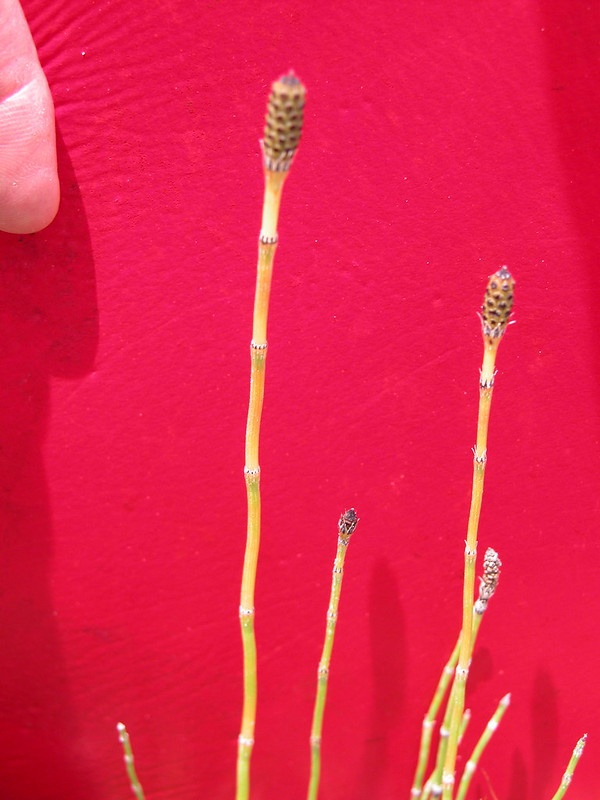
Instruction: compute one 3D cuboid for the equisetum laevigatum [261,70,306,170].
[{"bbox_3d":[-0.011,-0.186,0.603,0.019,0.085,0.021,-4,45,-12],"label":"equisetum laevigatum"}]
